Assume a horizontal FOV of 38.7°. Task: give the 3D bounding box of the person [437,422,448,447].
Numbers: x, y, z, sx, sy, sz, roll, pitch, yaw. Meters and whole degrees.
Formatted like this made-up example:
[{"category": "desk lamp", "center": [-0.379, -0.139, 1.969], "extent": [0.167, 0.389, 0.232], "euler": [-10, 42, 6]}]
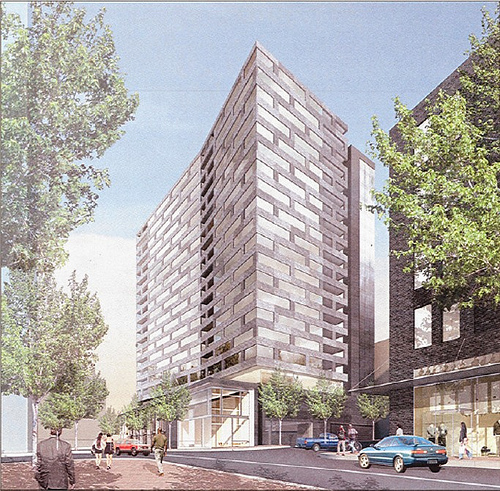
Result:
[{"category": "person", "center": [9.175, 9.058, 34.039], "extent": [0.213, 1.089, 0.655], "euler": [8, -18, -24]}]
